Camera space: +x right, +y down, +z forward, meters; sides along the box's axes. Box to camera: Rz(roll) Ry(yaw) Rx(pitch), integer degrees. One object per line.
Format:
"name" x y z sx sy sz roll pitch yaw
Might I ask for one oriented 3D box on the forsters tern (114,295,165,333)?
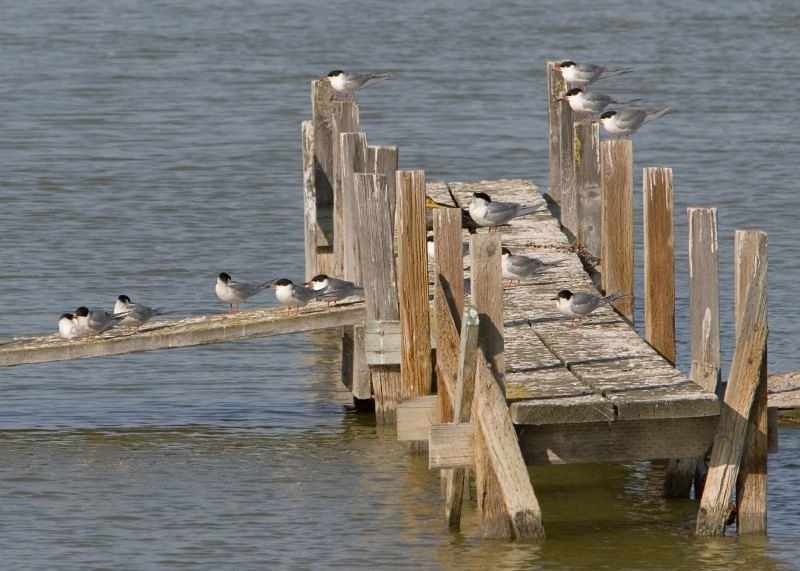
"forsters tern" -4.312 0.493 32.740 1.018 0.475 0.469 1 3 -8

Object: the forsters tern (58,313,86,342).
"forsters tern" -5.299 0.719 32.090 0.408 0.408 0.335 -10 -13 11

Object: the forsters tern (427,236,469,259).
"forsters tern" 0.858 -0.605 32.146 0.343 0.447 0.876 0 -7 14
